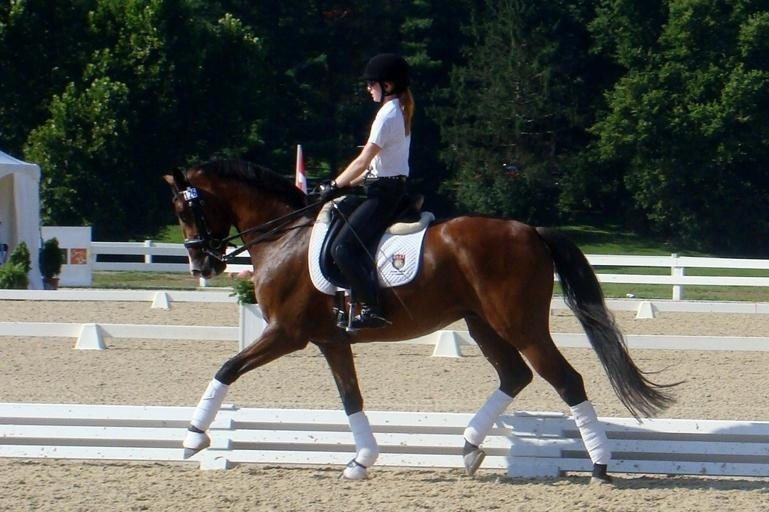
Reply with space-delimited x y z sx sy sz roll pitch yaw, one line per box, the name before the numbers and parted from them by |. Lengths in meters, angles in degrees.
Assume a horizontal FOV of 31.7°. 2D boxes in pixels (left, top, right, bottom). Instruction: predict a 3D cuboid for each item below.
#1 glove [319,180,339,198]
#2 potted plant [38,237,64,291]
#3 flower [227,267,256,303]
glove | -1.358 -1.631 32.437 0.499 0.340 0.306 -28 14 -6
potted plant | -10.482 0.230 42.607 0.606 1.575 0.799 11 8 39
flower | -3.737 0.743 36.003 0.521 0.608 0.535 -20 0 12
